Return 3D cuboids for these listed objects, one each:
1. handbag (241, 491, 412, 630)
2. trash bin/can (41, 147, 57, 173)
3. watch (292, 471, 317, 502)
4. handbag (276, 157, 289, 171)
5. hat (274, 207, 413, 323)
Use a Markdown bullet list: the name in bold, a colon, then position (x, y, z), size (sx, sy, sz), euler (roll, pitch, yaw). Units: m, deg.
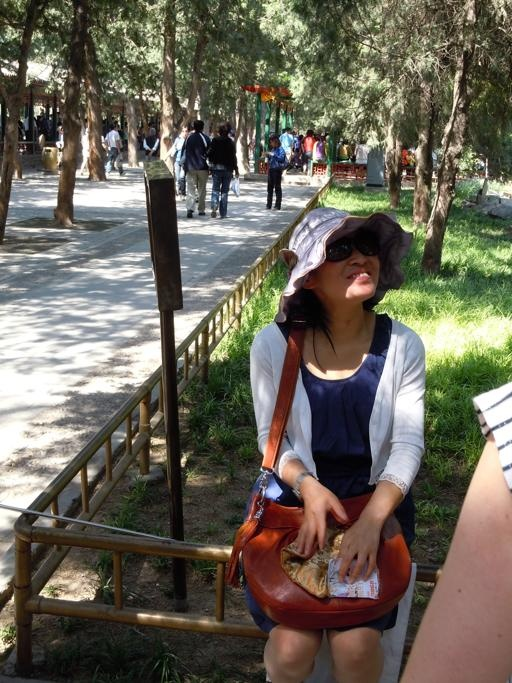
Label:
- **handbag**: position (0.187, 0.576, 1.504), size (0.360, 0.122, 0.420), euler (-1, 51, 0)
- **trash bin/can**: position (-10.147, -8.806, 28.727), size (0.675, 1.251, 1.186), euler (0, 13, -19)
- **watch**: position (0.140, 0.435, 1.845), size (0.060, 0.092, 0.095), euler (26, -6, 14)
- **handbag**: position (0.666, -5.090, 16.871), size (0.317, 0.413, 0.365), euler (7, 12, 16)
- **hat**: position (0.321, -0.283, 2.097), size (0.387, 0.303, 0.432), euler (-20, -3, -1)
